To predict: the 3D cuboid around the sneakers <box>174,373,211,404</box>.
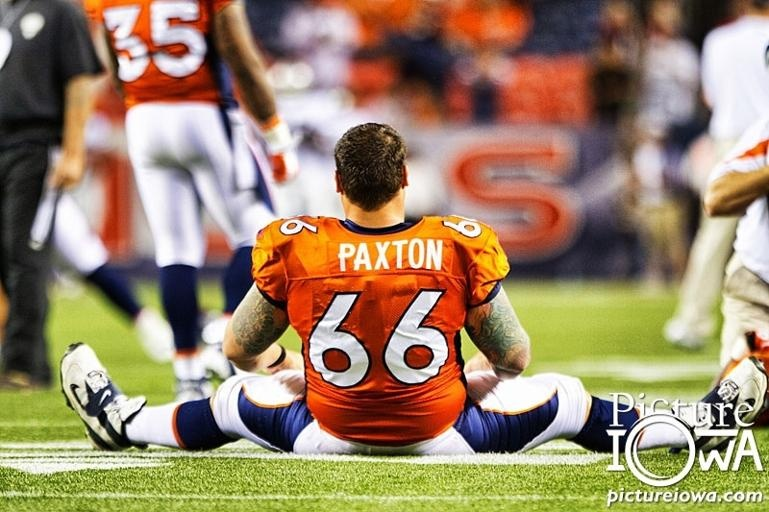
[{"bbox_3d":[-0.929,0.643,4.858,0.138,0.147,0.139,-1,-8,26],"label":"sneakers"}]
